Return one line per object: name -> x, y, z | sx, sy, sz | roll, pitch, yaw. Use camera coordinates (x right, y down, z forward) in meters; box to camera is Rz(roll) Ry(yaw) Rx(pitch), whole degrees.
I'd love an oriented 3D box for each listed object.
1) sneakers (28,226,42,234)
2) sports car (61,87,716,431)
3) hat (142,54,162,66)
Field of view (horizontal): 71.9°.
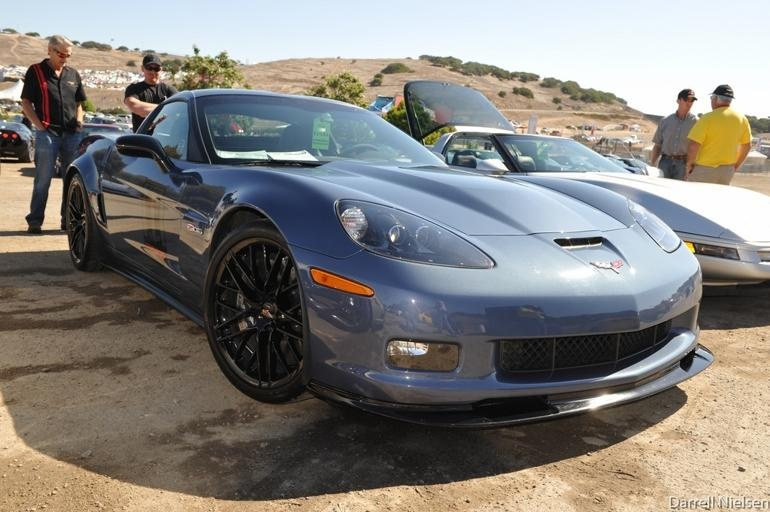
sneakers -> -4.189, -0.310, 6.318 | 0.137, 0.097, 0.174 | -5, 17, -27
sports car -> -0.626, -0.150, 3.564 | 4.095, 0.815, 2.361 | 8, 10, 44
hat -> -2.858, -2.403, 6.502 | 0.216, 0.108, 0.290 | -4, 9, -35
